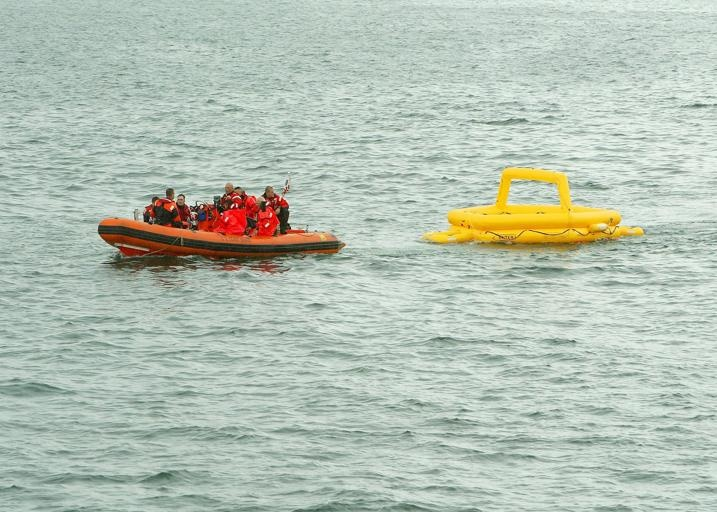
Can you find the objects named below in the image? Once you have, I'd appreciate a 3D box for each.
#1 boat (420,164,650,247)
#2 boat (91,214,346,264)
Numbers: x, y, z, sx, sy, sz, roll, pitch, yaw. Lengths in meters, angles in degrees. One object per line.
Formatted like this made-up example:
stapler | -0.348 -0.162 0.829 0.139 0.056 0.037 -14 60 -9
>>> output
boat | 6.568 -1.815 64.137 8.660 2.584 3.532 -5 37 -1
boat | -5.168 -0.592 61.077 8.559 0.852 2.375 2 -1 -12
